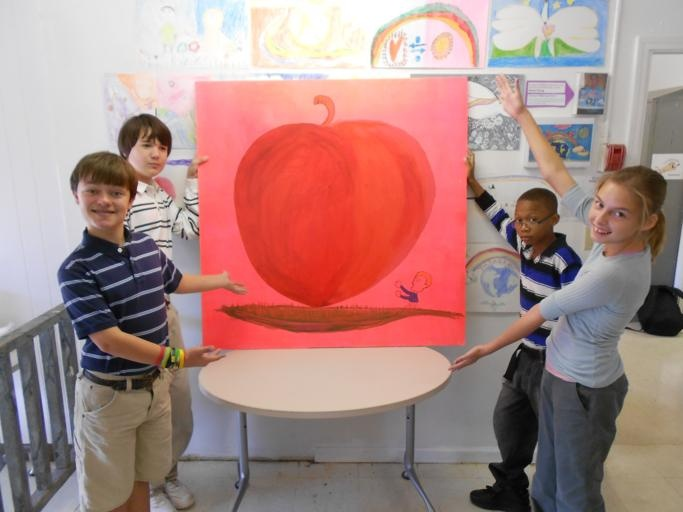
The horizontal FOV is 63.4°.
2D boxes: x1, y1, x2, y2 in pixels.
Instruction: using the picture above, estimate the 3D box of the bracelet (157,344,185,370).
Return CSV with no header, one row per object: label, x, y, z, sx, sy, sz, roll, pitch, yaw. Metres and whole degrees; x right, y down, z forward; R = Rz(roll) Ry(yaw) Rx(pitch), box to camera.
bracelet,-0.695,0.412,2.304,0.100,0.084,0.080,-16,-3,16
